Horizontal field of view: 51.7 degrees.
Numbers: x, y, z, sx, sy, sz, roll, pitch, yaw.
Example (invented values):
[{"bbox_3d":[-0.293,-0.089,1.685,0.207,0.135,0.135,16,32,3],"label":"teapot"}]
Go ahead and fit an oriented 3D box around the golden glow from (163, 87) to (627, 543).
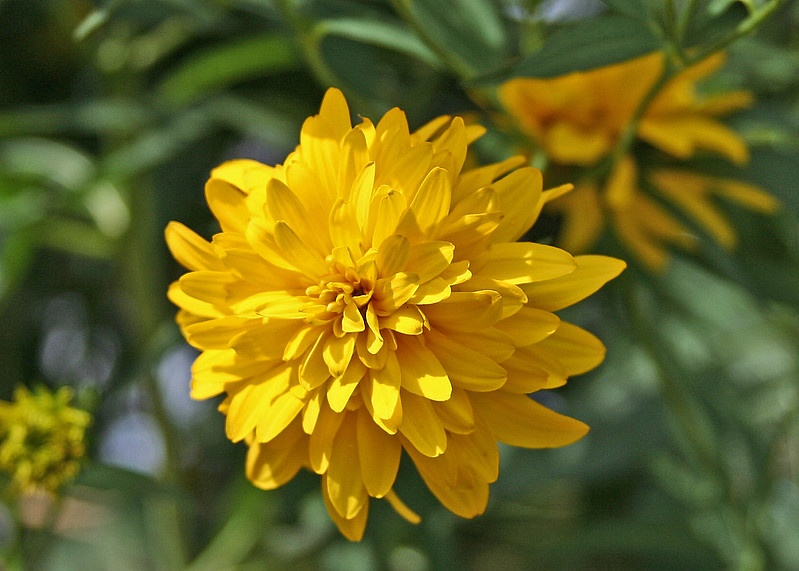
[{"bbox_3d":[0.018,0.057,0.765,0.369,0.144,0.382,-31,89,4],"label":"golden glow"}]
